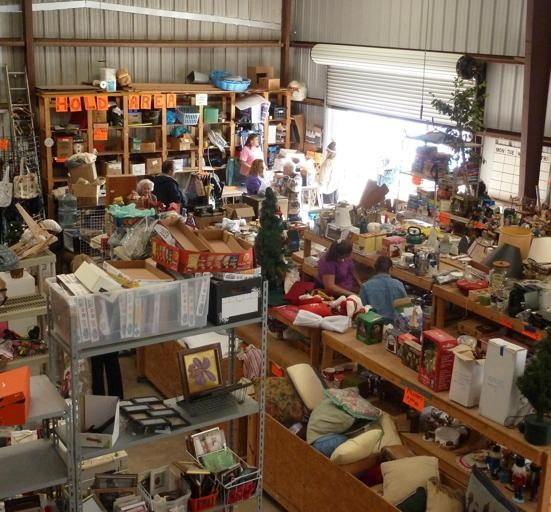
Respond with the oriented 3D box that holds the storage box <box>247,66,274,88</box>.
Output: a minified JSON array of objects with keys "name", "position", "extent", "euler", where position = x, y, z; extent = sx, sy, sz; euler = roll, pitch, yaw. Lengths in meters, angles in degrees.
[{"name":"storage box","position":[-0.383,-4.193,11.172],"extent":[0.594,0.527,0.569],"euler":[-15,28,-36]}]

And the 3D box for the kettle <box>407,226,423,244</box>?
[{"name":"kettle","position":[1.648,-0.245,5.635],"extent":[0.174,0.218,0.270],"euler":[1,6,9]}]

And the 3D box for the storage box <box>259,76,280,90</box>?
[{"name":"storage box","position":[-0.164,-3.977,11.086],"extent":[0.404,0.222,0.388],"euler":[8,13,33]}]

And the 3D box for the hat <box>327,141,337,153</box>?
[{"name":"hat","position":[1.208,-2.366,10.335],"extent":[0.186,0.181,0.234],"euler":[3,14,-9]}]

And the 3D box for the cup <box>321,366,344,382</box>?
[{"name":"cup","position":[0.488,1.012,4.101],"extent":[0.179,0.105,0.108],"euler":[0,12,5]}]
